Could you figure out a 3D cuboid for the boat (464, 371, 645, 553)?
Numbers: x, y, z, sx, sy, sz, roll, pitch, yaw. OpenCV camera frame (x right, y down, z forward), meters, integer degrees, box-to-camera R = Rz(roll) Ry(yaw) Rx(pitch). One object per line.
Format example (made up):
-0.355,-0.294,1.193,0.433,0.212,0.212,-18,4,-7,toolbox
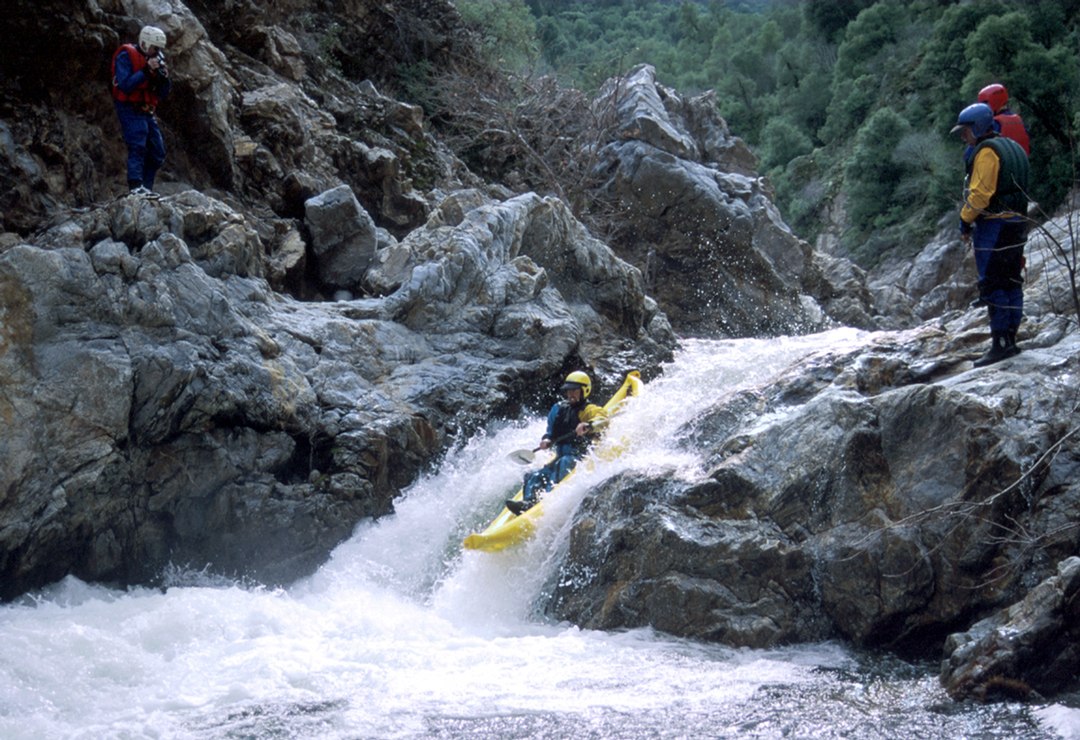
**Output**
0.186,1.765,30.383,3.982,0.708,0.764,-46,19,-32,boat

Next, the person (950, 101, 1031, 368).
7.486,-2.238,27.842,1.070,4.312,0.745,-2,4,14,person

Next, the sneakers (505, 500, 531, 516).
-0.407,2.406,29.732,0.354,0.235,0.191,11,-23,9,sneakers

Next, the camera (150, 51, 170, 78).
-6.613,-5.292,29.338,0.160,0.458,0.382,-1,5,31,camera

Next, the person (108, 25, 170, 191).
-6.951,-4.498,29.463,0.968,2.908,0.988,-5,4,-14,person

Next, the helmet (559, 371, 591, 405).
0.627,0.343,31.242,0.452,0.552,0.550,-2,-13,32,helmet
